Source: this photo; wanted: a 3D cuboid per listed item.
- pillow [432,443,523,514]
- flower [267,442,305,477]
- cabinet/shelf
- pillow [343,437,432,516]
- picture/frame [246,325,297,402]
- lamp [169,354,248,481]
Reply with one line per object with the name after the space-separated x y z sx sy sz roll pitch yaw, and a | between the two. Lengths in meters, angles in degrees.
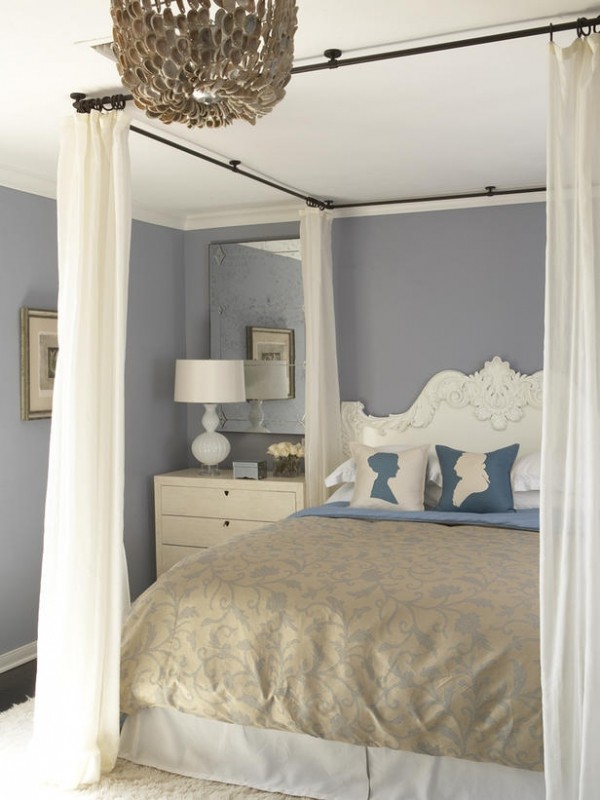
0.896 0.409 3.520 0.315 0.270 0.116 -4 -35 21 | pillow
-0.066 0.366 4.589 0.242 0.223 0.216 0 -1 32 | flower
-0.367 0.647 3.731 0.853 0.777 0.327 -1 -1 22 | cabinet/shelf
0.474 0.416 3.690 0.341 0.324 0.114 -3 -42 25 | pillow
-0.196 -0.255 4.772 0.376 0.502 0.039 2 6 20 | picture/frame
-0.599 0.095 4.707 0.650 0.755 0.656 0 1 28 | lamp
